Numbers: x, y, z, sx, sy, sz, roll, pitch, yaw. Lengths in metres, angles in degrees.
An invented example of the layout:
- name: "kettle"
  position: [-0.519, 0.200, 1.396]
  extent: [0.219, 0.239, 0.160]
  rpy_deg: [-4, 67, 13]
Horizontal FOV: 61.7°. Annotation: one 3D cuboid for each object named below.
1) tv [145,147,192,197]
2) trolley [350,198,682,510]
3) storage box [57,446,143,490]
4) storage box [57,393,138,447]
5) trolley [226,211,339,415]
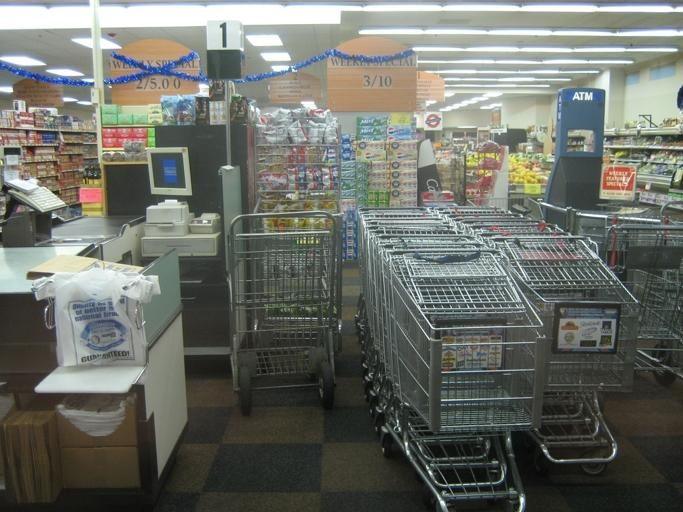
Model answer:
- name: "tv"
  position: [-1.606, -0.807, 5.395]
  extent: [0.509, 0.552, 0.060]
  rpy_deg: [-1, 10, 4]
- name: "trolley"
  position: [0.988, 0.578, 4.236]
  extent: [1.241, 1.418, 2.289]
  rpy_deg: [-2, 8, -4]
- name: "storage box"
  position: [-1.402, 1.242, 3.331]
  extent: [0.303, 0.193, 0.310]
  rpy_deg: [-1, 2, -3]
- name: "storage box"
  position: [-1.394, 0.954, 3.283]
  extent: [0.345, 0.229, 0.354]
  rpy_deg: [-1, 6, -4]
- name: "trolley"
  position: [-0.461, 0.339, 4.915]
  extent: [0.911, 1.490, 1.444]
  rpy_deg: [-1, 12, -3]
